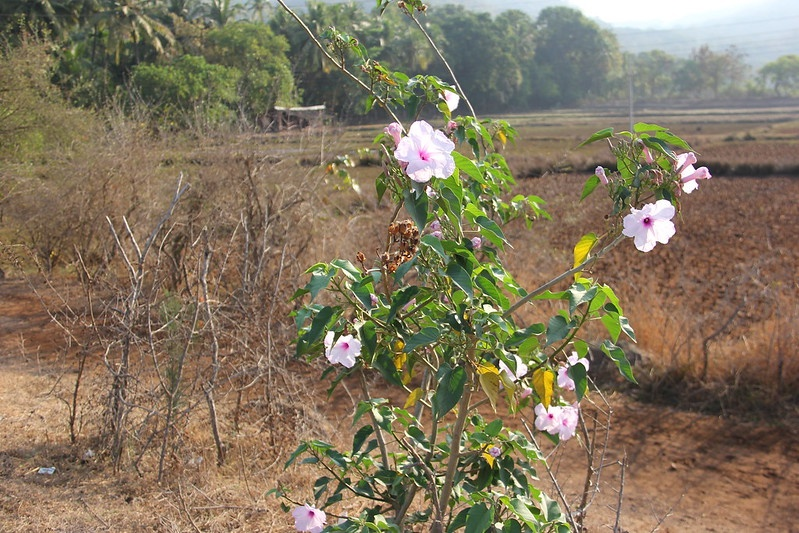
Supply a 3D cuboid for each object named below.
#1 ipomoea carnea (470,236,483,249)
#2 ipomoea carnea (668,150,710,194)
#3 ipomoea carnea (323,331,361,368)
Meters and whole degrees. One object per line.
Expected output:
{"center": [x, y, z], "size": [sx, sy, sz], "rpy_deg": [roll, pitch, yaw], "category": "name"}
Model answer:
{"center": [2.415, -0.701, 34.335], "size": [0.294, 0.389, 0.183], "rpy_deg": [1, -16, 1], "category": "ipomoea carnea"}
{"center": [9.015, -2.896, 33.743], "size": [0.941, 1.157, 0.460], "rpy_deg": [1, 15, 4], "category": "ipomoea carnea"}
{"center": [-1.687, 2.467, 33.684], "size": [0.955, 1.081, 0.342], "rpy_deg": [40, 46, 15], "category": "ipomoea carnea"}
